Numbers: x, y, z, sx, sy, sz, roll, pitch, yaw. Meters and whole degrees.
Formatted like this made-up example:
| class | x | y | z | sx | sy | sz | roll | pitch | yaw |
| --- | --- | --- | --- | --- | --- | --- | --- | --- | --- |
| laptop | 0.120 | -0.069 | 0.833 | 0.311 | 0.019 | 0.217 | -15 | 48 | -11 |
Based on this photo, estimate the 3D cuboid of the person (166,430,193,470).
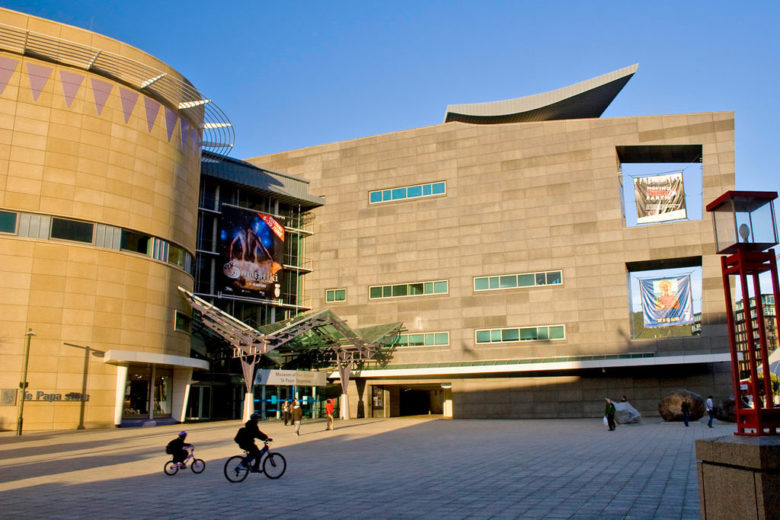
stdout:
| class | x | y | z | sx | sy | sz | roll | pitch | yaw |
| --- | --- | --- | --- | --- | --- | --- | --- | --- | --- |
| person | -8.476 | 7.695 | 28.389 | 0.921 | 1.424 | 1.426 | 1 | -14 | -16 |

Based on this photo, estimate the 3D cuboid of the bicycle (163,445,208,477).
| class | x | y | z | sx | sy | sz | roll | pitch | yaw |
| --- | --- | --- | --- | --- | --- | --- | --- | --- | --- |
| bicycle | -8.362 | 8.261 | 28.683 | 1.950 | 1.073 | 1.090 | -3 | -6 | -16 |
